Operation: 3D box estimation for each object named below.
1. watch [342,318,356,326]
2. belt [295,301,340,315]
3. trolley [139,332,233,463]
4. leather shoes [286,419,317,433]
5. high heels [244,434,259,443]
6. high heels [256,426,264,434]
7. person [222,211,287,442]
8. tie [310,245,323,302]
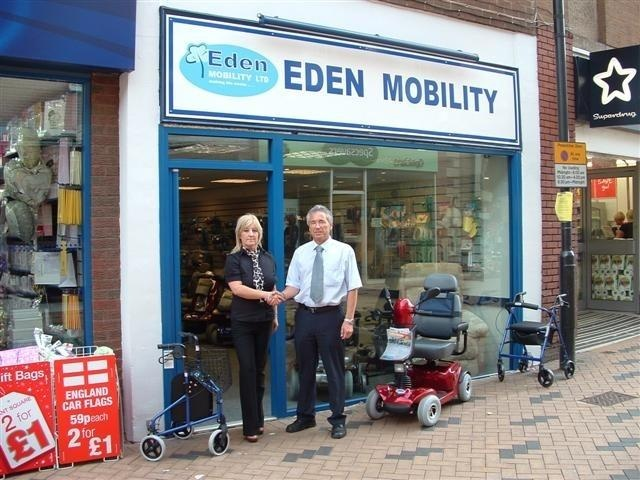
[{"bbox_3d":[0.288,0.829,5.356,0.084,0.041,0.071,-6,1,16],"label":"watch"},{"bbox_3d":[-0.029,0.702,5.432,0.469,0.094,0.109,-3,0,13],"label":"belt"},{"bbox_3d":[-1.246,1.536,5.674,1.168,1.510,1.111,0,-6,-10],"label":"trolley"},{"bbox_3d":[-0.184,1.948,5.580,0.341,0.133,0.110,7,-10,-34],"label":"leather shoes"},{"bbox_3d":[-0.679,1.985,5.296,0.068,0.065,0.173,2,-9,-15],"label":"high heels"},{"bbox_3d":[-0.607,1.958,5.430,0.075,0.088,0.096,1,-12,-3],"label":"high heels"},{"bbox_3d":[-0.672,0.878,5.350,0.503,2.291,0.502,-3,0,-8],"label":"person"},{"bbox_3d":[-0.020,0.351,5.398,0.136,0.592,0.174,-3,0,24],"label":"tie"}]
